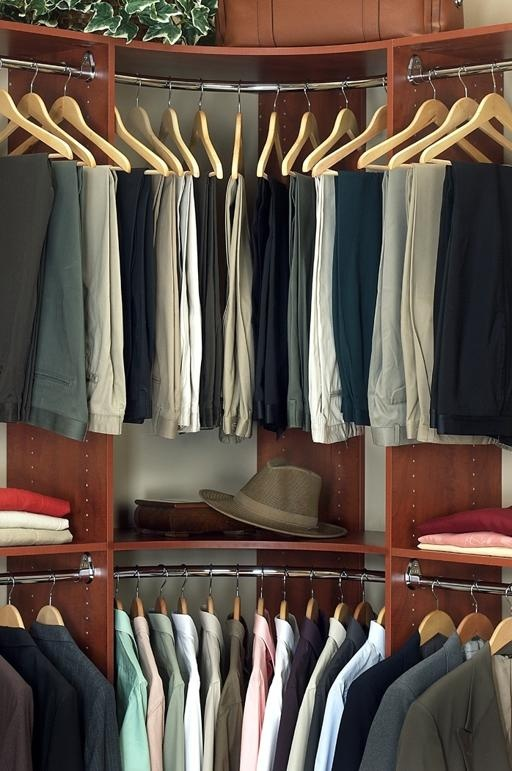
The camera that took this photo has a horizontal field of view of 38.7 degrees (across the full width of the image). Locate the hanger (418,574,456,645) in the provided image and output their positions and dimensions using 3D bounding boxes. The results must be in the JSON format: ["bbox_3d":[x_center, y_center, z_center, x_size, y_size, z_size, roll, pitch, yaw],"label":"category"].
[{"bbox_3d":[0.463,0.577,1.886,0.011,0.231,0.110,0,1,42],"label":"hanger"}]

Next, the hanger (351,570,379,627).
[{"bbox_3d":[0.324,0.631,2.174,0.027,0.254,0.145,0,-3,30],"label":"hanger"}]

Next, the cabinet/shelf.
[{"bbox_3d":[0.007,-0.104,1.912,1.040,1.860,0.452,1,1,-2],"label":"cabinet/shelf"}]

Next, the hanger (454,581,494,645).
[{"bbox_3d":[0.558,0.584,1.885,0.103,0.241,0.018,1,1,-26],"label":"hanger"}]

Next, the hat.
[{"bbox_3d":[0.050,0.312,2.074,0.226,0.133,0.280,23,0,16],"label":"hat"}]
